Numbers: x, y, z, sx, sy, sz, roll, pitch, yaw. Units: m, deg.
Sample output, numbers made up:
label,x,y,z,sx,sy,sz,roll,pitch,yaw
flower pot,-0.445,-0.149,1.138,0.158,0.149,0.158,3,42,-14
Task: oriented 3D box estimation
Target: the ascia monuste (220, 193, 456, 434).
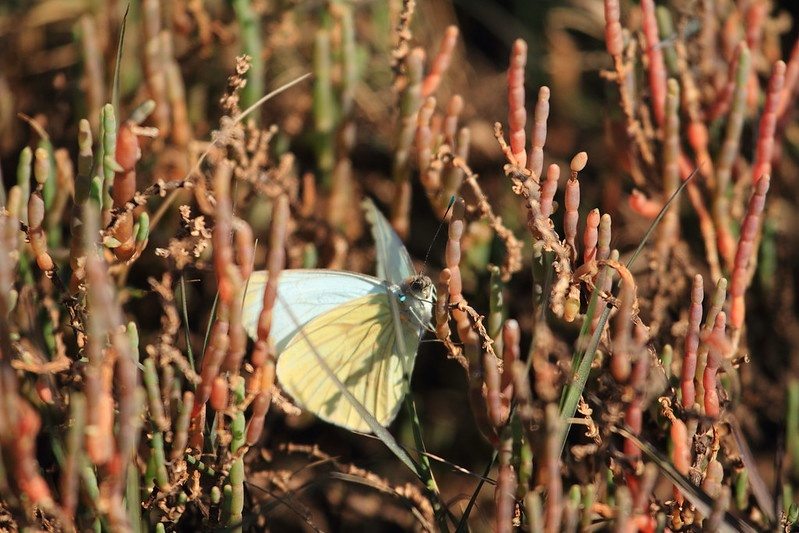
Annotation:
label,x,y,z,sx,sy,sz,roll,pitch,yaw
ascia monuste,-0.079,0.102,1.765,0.270,0.247,0.413,38,4,0
